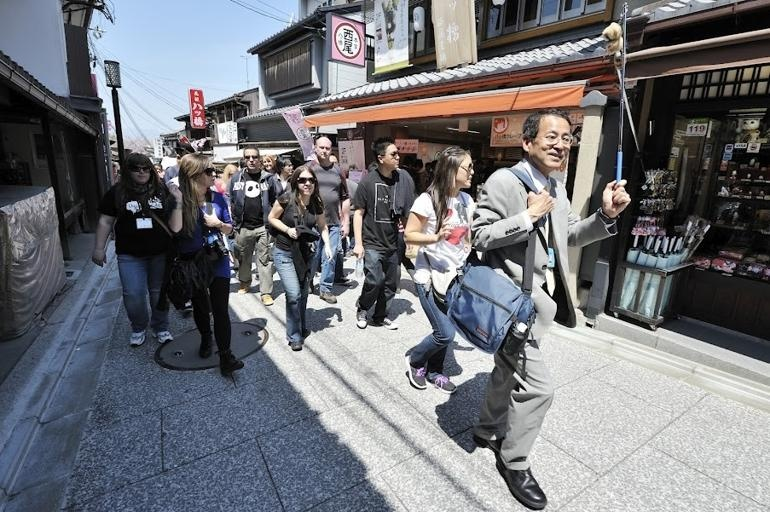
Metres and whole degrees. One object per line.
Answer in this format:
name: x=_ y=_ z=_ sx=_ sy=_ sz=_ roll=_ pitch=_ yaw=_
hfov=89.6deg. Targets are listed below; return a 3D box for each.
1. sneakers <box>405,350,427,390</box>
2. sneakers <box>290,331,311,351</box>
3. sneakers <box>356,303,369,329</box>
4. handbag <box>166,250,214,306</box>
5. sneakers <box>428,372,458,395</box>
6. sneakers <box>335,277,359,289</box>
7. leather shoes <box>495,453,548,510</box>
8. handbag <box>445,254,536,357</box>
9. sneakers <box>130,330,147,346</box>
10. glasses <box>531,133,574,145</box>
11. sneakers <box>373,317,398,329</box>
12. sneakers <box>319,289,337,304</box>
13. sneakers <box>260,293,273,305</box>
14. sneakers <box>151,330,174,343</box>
sneakers: x=0.348 y=1.311 z=4.427 sx=0.185 sy=0.430 sz=0.193 roll=-18 pitch=1 yaw=41
sneakers: x=-1.118 y=1.125 z=5.046 sx=0.213 sy=0.251 sz=0.605 roll=6 pitch=2 yaw=-12
sneakers: x=-0.325 y=0.879 z=5.605 sx=0.127 sy=0.142 sz=0.369 roll=-1 pitch=39 yaw=-11
handbag: x=-2.265 y=0.233 z=4.499 sx=0.540 sy=0.639 sz=0.290 roll=-3 pitch=7 yaw=-10
sneakers: x=0.658 y=1.421 z=4.387 sx=0.301 sy=0.114 sz=0.167 roll=18 pitch=24 yaw=35
sneakers: x=-0.703 y=0.501 z=7.177 sx=0.406 sy=0.167 sz=0.172 roll=0 pitch=14 yaw=4
leather shoes: x=1.193 y=1.997 z=3.409 sx=0.202 sy=0.173 sz=0.448 roll=-5 pitch=33 yaw=-29
handbag: x=0.922 y=0.404 z=3.289 sx=0.621 sy=0.785 sz=0.465 roll=40 pitch=40 yaw=19
sneakers: x=-3.206 y=1.076 z=4.994 sx=0.112 sy=0.124 sz=0.285 roll=0 pitch=2 yaw=-27
glasses: x=1.417 y=-0.997 z=3.271 sx=0.363 sy=0.135 sz=0.161 roll=0 pitch=16 yaw=4
sneakers: x=0.000 y=0.989 z=5.607 sx=0.311 sy=0.116 sz=0.158 roll=5 pitch=16 yaw=15
sneakers: x=-0.932 y=0.668 z=6.400 sx=0.296 sy=0.119 sz=0.151 roll=17 pitch=21 yaw=37
sneakers: x=-1.923 y=0.708 z=6.279 sx=0.106 sy=0.094 sz=0.244 roll=-17 pitch=11 yaw=-35
sneakers: x=-2.893 y=1.063 z=5.074 sx=0.262 sy=0.107 sz=0.130 roll=10 pitch=12 yaw=44
